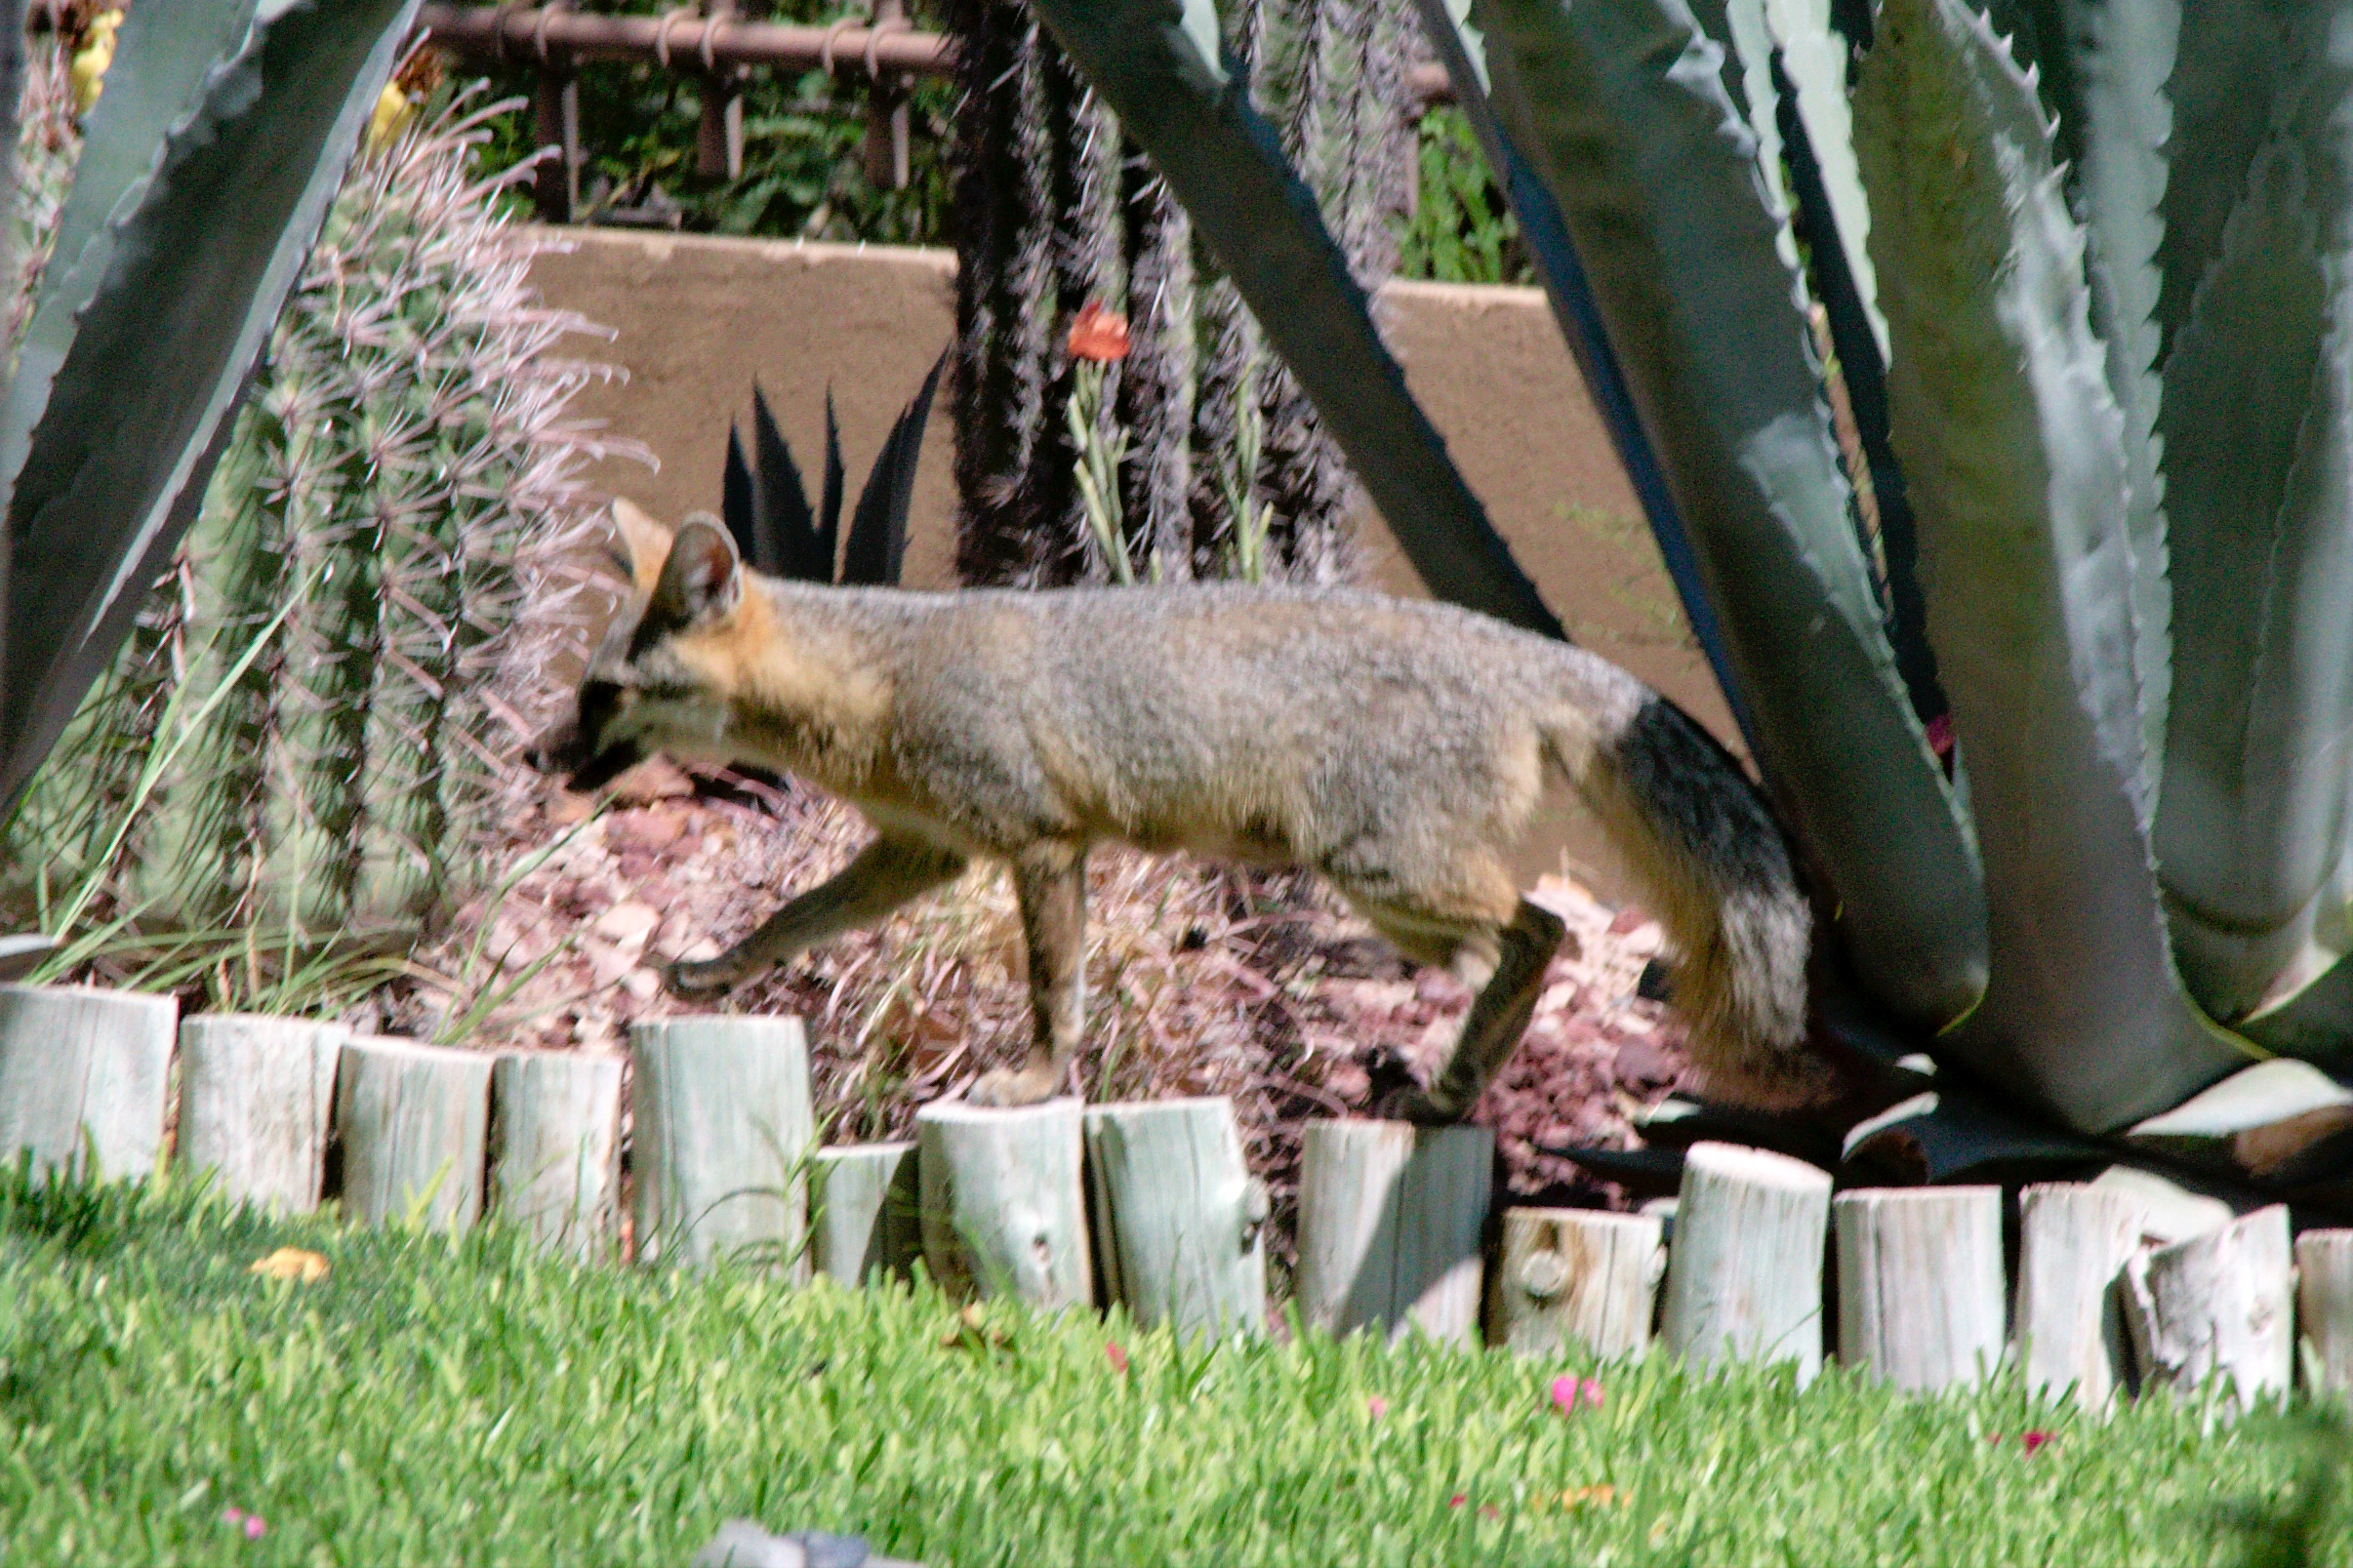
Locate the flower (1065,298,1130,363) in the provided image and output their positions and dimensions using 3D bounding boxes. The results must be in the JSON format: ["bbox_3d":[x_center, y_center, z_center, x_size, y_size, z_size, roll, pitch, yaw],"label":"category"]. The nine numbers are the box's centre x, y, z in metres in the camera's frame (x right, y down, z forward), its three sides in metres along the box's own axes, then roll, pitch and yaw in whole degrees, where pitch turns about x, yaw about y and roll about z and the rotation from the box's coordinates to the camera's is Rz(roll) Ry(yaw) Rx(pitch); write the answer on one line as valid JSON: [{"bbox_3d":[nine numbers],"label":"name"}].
[{"bbox_3d":[-0.150,-0.872,6.453,0.124,0.115,0.296,3,4,-2],"label":"flower"}]

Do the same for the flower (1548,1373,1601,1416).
[{"bbox_3d":[0.550,0.850,4.688,0.072,0.048,0.049,1,4,-25],"label":"flower"}]
